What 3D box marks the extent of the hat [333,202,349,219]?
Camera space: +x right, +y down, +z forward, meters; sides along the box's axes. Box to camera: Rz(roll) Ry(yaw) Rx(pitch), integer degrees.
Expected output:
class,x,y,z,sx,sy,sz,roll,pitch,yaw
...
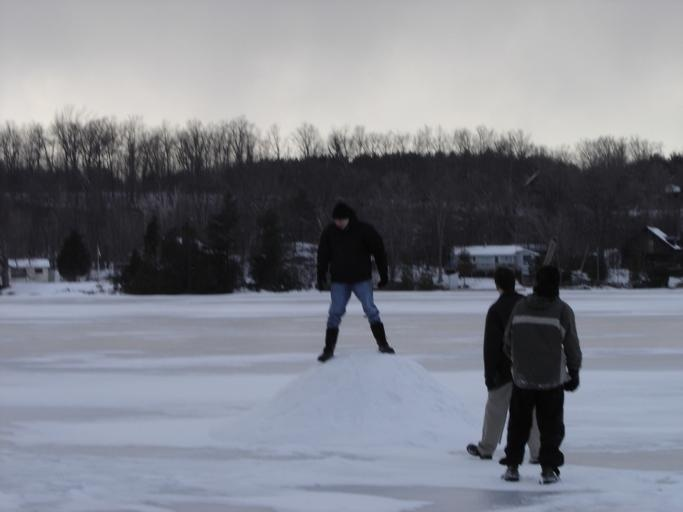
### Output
class,x,y,z,sx,sy,sz,roll,pitch,yaw
hat,-0.023,-0.608,14.147,0.162,0.213,0.224,0,-39,2

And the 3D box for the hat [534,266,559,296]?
class,x,y,z,sx,sy,sz,roll,pitch,yaw
hat,2.225,0.271,11.603,0.247,0.342,0.311,-2,0,-6

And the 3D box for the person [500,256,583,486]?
class,x,y,z,sx,sy,sz,roll,pitch,yaw
person,2.191,1.253,11.693,0.721,2.492,0.682,5,18,19

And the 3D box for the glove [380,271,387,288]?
class,x,y,z,sx,sy,sz,roll,pitch,yaw
glove,0.547,0.307,14.479,0.062,0.198,0.130,1,-2,-35

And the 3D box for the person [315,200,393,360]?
class,x,y,z,sx,sy,sz,roll,pitch,yaw
person,0.097,0.309,14.457,0.992,2.282,0.686,-3,20,-2
